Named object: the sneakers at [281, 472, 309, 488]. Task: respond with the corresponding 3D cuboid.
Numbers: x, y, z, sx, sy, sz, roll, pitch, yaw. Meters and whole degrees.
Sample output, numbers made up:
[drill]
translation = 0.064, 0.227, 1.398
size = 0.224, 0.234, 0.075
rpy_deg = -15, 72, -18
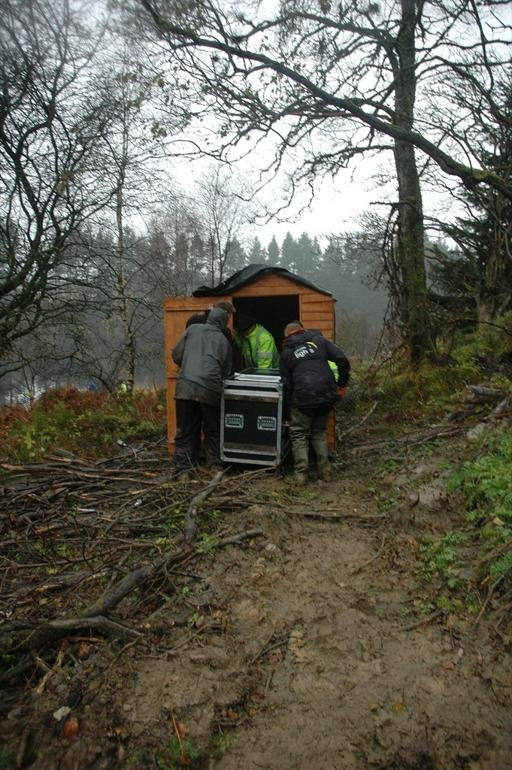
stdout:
[sneakers]
translation = 0.420, 1.022, 5.929
size = 0.273, 0.119, 0.493
rpy_deg = -1, 5, 3
